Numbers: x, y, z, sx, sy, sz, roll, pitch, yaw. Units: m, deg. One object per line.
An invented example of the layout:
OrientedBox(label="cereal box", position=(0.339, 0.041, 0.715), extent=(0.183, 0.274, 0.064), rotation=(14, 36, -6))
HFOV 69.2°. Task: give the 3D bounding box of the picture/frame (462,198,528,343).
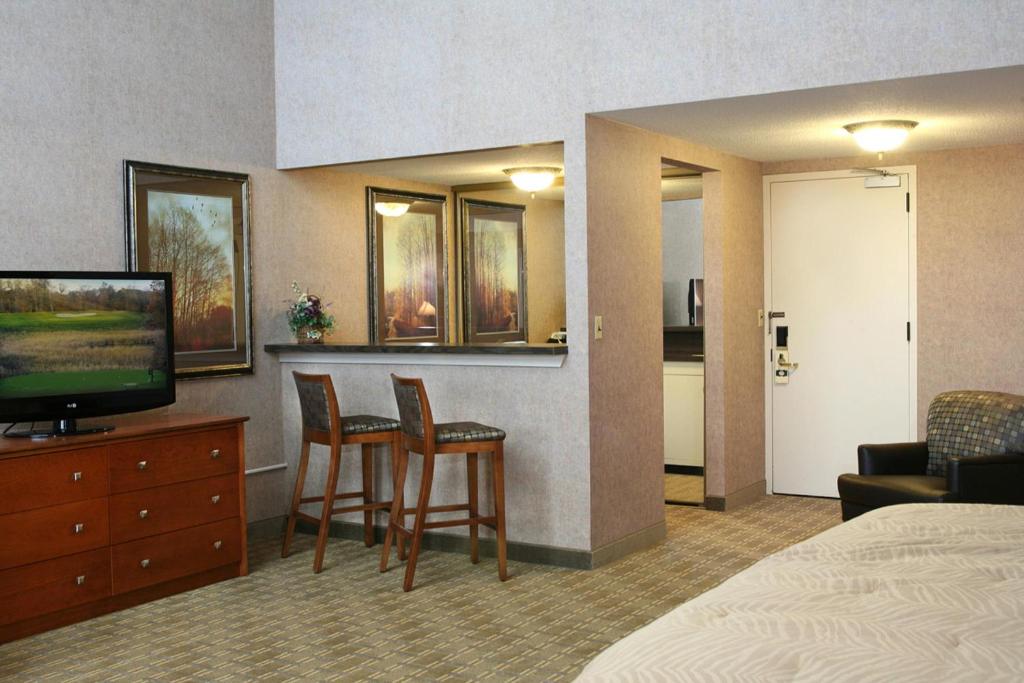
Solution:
OrientedBox(label="picture/frame", position=(-0.201, -0.771, 8.145), extent=(0.908, 1.536, 0.121), rotation=(-6, 7, -42))

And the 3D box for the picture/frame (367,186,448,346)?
OrientedBox(label="picture/frame", position=(-1.038, -0.741, 7.416), extent=(0.161, 1.527, 1.061), rotation=(3, 7, 36))

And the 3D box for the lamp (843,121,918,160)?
OrientedBox(label="lamp", position=(2.823, -1.507, 5.700), extent=(0.330, 0.148, 0.334), rotation=(2, 4, 42))

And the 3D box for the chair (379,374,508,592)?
OrientedBox(label="chair", position=(-0.507, 0.945, 5.418), extent=(0.996, 1.474, 0.961), rotation=(0, 6, 9))

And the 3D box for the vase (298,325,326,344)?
OrientedBox(label="vase", position=(-1.723, -0.065, 6.302), extent=(0.157, 0.106, 0.171), rotation=(2, 3, 28))

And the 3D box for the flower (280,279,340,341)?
OrientedBox(label="flower", position=(-1.751, -0.271, 6.538), extent=(0.484, 0.641, 0.518), rotation=(2, 0, 26))
